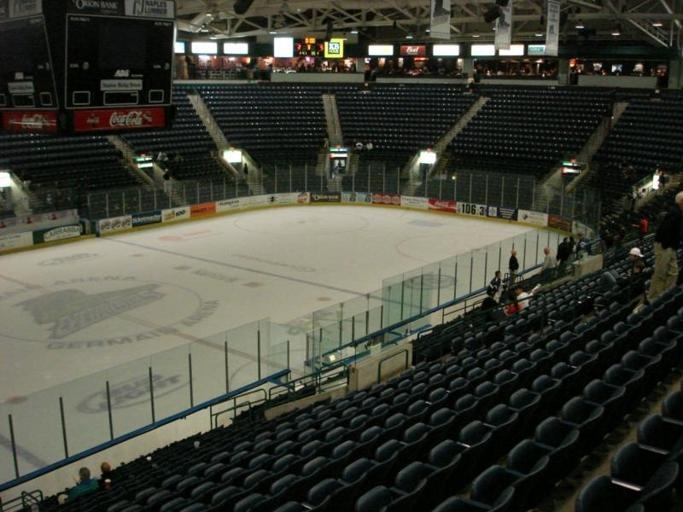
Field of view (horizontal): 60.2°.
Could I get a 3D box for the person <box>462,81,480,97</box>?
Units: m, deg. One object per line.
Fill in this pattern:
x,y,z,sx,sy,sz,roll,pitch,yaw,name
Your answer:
10.770,-13.528,48.572,1.652,1.230,0.354,2,-17,16,person

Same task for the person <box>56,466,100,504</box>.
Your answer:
-5.501,4.919,12.254,0.811,0.616,1.032,-9,18,-24,person
